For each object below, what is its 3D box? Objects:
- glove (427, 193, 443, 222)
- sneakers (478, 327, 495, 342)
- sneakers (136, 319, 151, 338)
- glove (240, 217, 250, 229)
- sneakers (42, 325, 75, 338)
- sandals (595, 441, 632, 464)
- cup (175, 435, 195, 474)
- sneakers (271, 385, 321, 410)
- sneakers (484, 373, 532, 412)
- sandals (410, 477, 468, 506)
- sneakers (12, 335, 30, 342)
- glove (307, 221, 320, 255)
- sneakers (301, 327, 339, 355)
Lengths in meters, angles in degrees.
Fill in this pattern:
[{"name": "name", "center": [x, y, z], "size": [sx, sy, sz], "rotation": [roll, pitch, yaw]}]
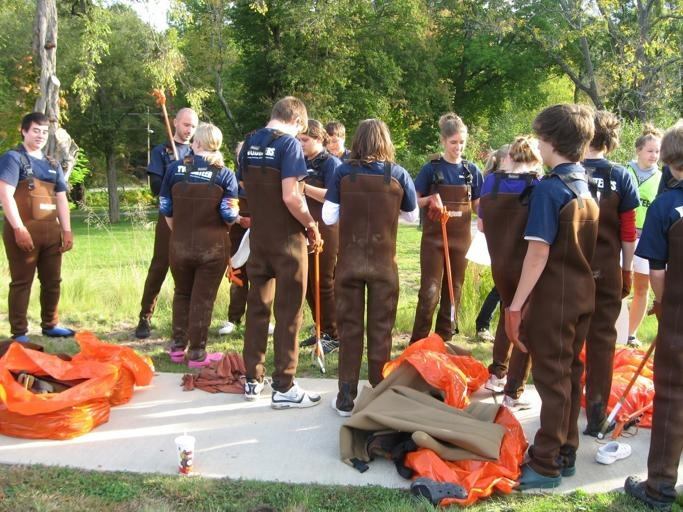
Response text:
[{"name": "glove", "center": [0.994, -0.533, 8.407], "size": [0.197, 0.204, 0.264], "rotation": [21, -2, 7]}, {"name": "sneakers", "center": [1.757, 0.959, 9.455], "size": [0.190, 0.202, 0.121], "rotation": [-10, 0, 15]}, {"name": "sneakers", "center": [-2.449, 0.901, 9.529], "size": [0.103, 0.131, 0.301], "rotation": [2, 10, -9]}, {"name": "glove", "center": [-1.169, -0.407, 9.291], "size": [0.148, 0.070, 0.216], "rotation": [1, -8, 5]}, {"name": "sneakers", "center": [-3.461, 0.922, 9.433], "size": [0.378, 0.165, 0.142], "rotation": [0, 4, -12]}, {"name": "sandals", "center": [2.397, 1.732, 6.890], "size": [0.301, 0.128, 0.159], "rotation": [-13, 21, -24]}, {"name": "cup", "center": [-1.356, 1.694, 6.677], "size": [0.145, 0.330, 0.230], "rotation": [1, 1, -12]}, {"name": "sneakers", "center": [-0.460, 1.400, 7.733], "size": [0.473, 0.227, 0.210], "rotation": [-1, 0, -11]}, {"name": "sneakers", "center": [1.652, 1.377, 7.819], "size": [0.193, 0.258, 0.538], "rotation": [-5, 10, -37]}, {"name": "sandals", "center": [0.798, 1.900, 6.361], "size": [0.324, 0.125, 0.204], "rotation": [13, -6, -6]}, {"name": "sneakers", "center": [-3.600, 0.922, 8.677], "size": [0.230, 0.103, 0.128], "rotation": [-1, 3, 20]}, {"name": "glove", "center": [-0.285, -0.185, 7.774], "size": [0.078, 0.255, 0.183], "rotation": [-13, 25, -6]}, {"name": "sneakers", "center": [-0.316, 1.016, 9.151], "size": [0.536, 0.253, 0.195], "rotation": [4, -5, -4]}]
